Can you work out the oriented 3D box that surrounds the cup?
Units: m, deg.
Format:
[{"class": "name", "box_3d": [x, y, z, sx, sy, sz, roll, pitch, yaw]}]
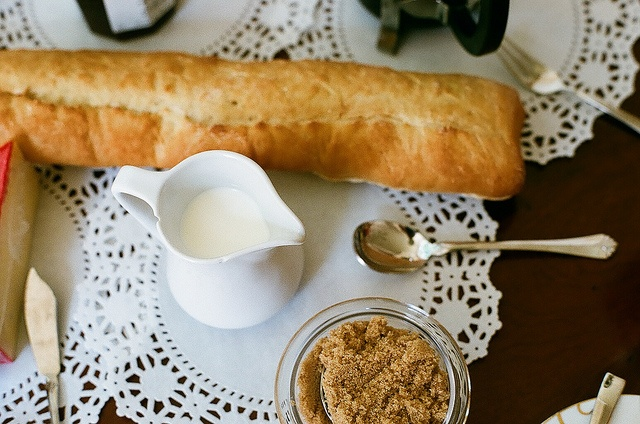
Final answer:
[{"class": "cup", "box_3d": [-0.138, 0.014, 1.090, 0.293, 0.303, 0.243, 21, 69, 2]}]
